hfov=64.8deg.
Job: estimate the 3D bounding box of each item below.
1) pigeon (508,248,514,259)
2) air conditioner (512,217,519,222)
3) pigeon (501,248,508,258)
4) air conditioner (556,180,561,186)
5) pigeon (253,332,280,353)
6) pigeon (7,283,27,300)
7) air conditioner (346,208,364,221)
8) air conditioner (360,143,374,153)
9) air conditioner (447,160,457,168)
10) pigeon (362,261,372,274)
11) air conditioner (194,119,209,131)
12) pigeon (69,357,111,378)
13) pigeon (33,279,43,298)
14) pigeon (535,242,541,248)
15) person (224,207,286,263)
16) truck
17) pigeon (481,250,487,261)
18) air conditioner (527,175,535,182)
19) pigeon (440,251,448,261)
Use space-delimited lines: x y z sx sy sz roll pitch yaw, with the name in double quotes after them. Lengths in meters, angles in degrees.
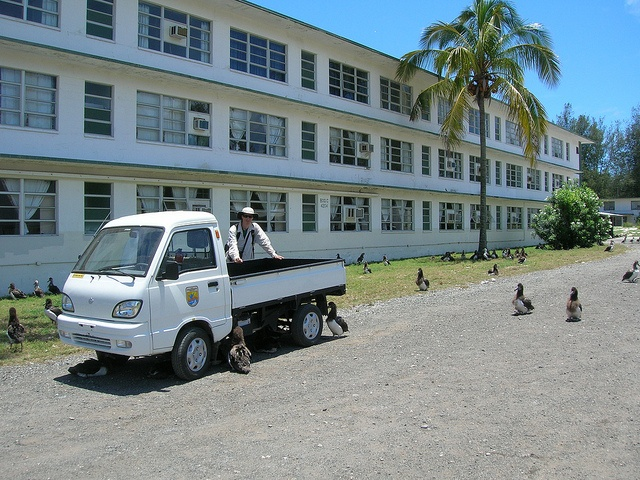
11.740 0.838 30.842 0.295 0.386 0.703 -10 -38 42 "pigeon"
16.624 -1.765 42.404 0.547 0.524 0.406 2 -11 -26 "air conditioner"
10.592 0.775 28.575 0.354 0.487 0.201 4 -5 16 "pigeon"
23.735 -5.604 49.915 0.617 0.576 0.329 5 -18 -36 "air conditioner"
-1.129 2.193 10.644 0.140 0.427 0.415 -21 29 -17 "pigeon"
-9.344 1.596 15.401 0.746 0.588 0.361 -3 0 27 "pigeon"
1.888 -1.340 27.104 0.206 0.785 1.685 3 6 37 "air conditioner"
2.650 -5.013 27.586 0.288 0.526 1.032 3 6 40 "air conditioner"
8.897 -5.070 33.932 0.293 0.460 0.902 3 5 33 "air conditioner"
2.197 1.324 22.250 0.468 0.488 0.322 9 -9 -15 "pigeon"
-4.763 -4.599 20.130 0.299 0.518 0.564 -1 -1 36 "air conditioner"
-4.087 2.292 8.901 0.365 0.103 0.364 12 11 30 "pigeon"
-8.927 1.554 15.999 0.263 0.494 0.675 -4 5 -30 "pigeon"
17.441 0.450 40.187 0.422 0.242 0.571 3 17 23 "pigeon"
-1.511 0.194 10.712 0.969 1.736 1.440 2 9 -14 "person"
-2.066 0.999 10.019 2.630 2.550 5.175 -4 -5 39 "truck"
8.930 0.796 26.989 0.294 0.522 0.401 1 5 16 "pigeon"
18.826 -5.335 44.687 0.538 0.746 1.015 3 1 33 "air conditioner"
6.791 0.920 27.417 0.186 0.499 0.371 20 4 30 "pigeon"
